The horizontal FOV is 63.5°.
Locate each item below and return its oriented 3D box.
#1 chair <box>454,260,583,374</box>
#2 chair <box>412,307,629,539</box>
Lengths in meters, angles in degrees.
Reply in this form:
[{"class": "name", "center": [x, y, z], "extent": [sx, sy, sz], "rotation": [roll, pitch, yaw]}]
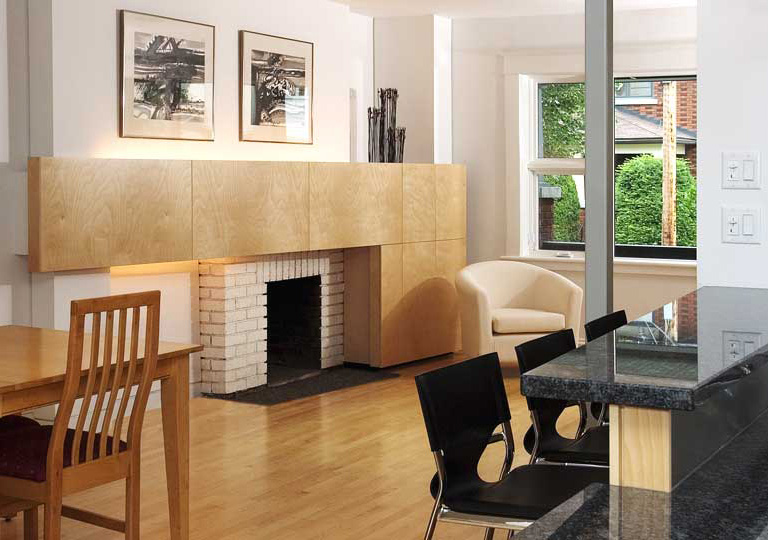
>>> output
[{"class": "chair", "center": [1.216, 0.438, 5.881], "extent": [1.052, 0.995, 0.933], "rotation": [0, 2, -10]}, {"class": "chair", "center": [0.499, 0.568, 2.353], "extent": [0.388, 0.613, 1.093], "rotation": [-1, 2, 27]}]
